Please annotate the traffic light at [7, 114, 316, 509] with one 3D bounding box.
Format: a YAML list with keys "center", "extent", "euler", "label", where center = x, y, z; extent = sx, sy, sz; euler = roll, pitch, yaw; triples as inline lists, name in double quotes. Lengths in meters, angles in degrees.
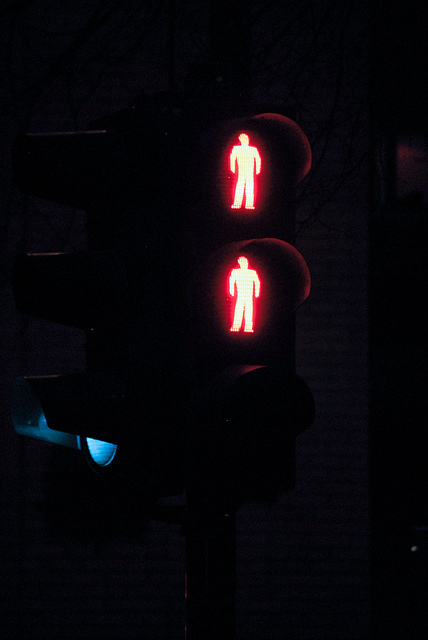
- center: [-0.104, -0.062, 4.796]
  extent: [1.085, 1.676, 1.317]
  euler: [-1, -1, 13]
  label: "traffic light"
